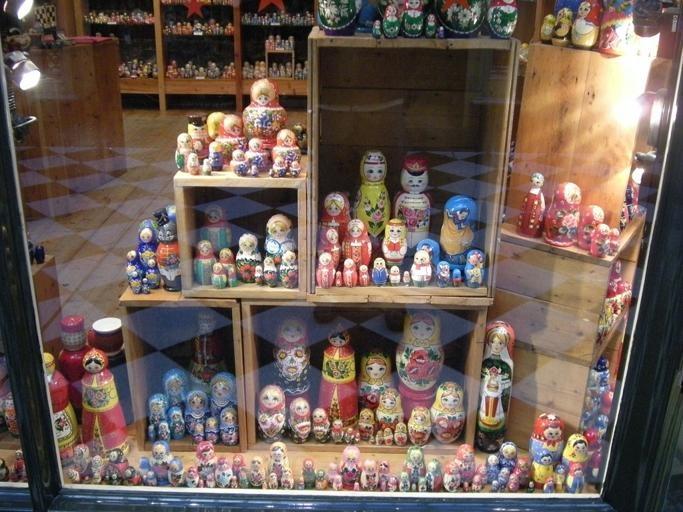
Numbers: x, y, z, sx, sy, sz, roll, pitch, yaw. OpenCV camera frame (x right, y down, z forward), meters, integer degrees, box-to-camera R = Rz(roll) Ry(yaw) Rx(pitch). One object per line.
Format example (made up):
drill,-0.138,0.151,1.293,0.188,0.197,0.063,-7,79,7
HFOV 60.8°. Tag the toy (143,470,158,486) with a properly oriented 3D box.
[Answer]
toy,-0.660,0.774,2.013,0.039,0.026,0.054,5,40,-45

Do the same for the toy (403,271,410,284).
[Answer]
toy,0.256,0.089,2.292,0.032,0.042,0.042,-5,16,-13

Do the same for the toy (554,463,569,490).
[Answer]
toy,0.791,0.802,2.088,0.038,0.132,0.041,-8,14,-35

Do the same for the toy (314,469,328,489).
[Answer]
toy,-0.080,0.834,2.173,0.045,0.064,0.049,2,-22,-5

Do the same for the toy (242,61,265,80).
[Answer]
toy,-0.319,-0.671,2.092,0.056,0.053,0.019,-10,25,-33

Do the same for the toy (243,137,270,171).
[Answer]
toy,-0.325,-0.399,2.240,0.082,0.126,0.089,-1,32,2

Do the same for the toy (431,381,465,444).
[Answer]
toy,0.458,0.660,2.488,0.152,0.274,0.156,8,17,20

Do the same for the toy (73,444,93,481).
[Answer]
toy,-0.889,0.709,1.987,0.070,0.107,0.100,-3,-3,-1

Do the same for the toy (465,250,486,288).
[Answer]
toy,0.520,0.045,2.270,0.087,0.150,0.091,-9,25,-16

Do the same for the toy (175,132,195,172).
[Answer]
toy,-0.589,-0.394,2.203,0.076,0.141,0.083,17,27,30

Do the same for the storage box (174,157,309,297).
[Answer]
storage box,-0.389,-0.166,2.387,0.628,0.673,0.468,-1,29,-2

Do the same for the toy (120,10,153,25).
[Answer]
toy,-0.673,-0.796,1.946,0.058,0.062,0.015,1,-13,-3

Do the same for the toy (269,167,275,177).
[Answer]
toy,-0.255,-0.311,2.156,0.028,0.043,0.030,-3,18,-9

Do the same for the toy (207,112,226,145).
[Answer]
toy,-0.484,-0.480,2.227,0.069,0.121,0.083,14,19,27

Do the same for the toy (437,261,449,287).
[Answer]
toy,0.401,0.072,2.279,0.064,0.090,0.048,-14,20,-40

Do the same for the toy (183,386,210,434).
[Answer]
toy,-0.616,0.670,2.478,0.116,0.216,0.097,-3,13,-23

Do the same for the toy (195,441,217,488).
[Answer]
toy,-0.507,0.783,2.190,0.081,0.167,0.080,-8,14,-43

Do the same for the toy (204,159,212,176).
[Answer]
toy,-0.504,-0.331,2.178,0.033,0.055,0.034,-2,15,-2

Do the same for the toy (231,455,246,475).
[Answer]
toy,-0.377,0.784,2.177,0.053,0.070,0.041,2,-15,-8

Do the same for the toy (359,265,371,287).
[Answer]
toy,0.089,0.083,2.274,0.042,0.083,0.018,-2,1,3

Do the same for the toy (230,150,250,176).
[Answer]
toy,-0.383,-0.345,2.179,0.081,0.126,0.084,-5,8,-34

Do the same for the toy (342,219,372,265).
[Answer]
toy,0.068,-0.049,2.337,0.110,0.186,0.098,-2,12,10

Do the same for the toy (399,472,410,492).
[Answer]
toy,0.224,0.809,2.062,0.046,0.044,0.078,1,24,5

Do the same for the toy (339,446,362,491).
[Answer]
toy,0.039,0.805,2.222,0.085,0.162,0.087,8,14,24

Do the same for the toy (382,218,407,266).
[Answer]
toy,0.219,-0.068,2.347,0.104,0.206,0.111,2,27,5

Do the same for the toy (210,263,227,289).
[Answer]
toy,-0.482,0.077,2.286,0.070,0.119,0.066,2,23,6

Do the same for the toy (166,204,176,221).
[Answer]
toy,-0.657,-0.165,2.258,0.043,0.068,0.022,8,18,32

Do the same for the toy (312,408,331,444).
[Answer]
toy,-0.083,0.718,2.461,0.081,0.145,0.070,-1,12,14

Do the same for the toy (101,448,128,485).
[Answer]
toy,-0.783,0.741,2.039,0.088,0.135,0.070,0,0,11

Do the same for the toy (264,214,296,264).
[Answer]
toy,-0.247,-0.059,2.316,0.125,0.186,0.098,-4,-6,-3

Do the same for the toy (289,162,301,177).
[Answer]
toy,-0.165,-0.324,2.168,0.036,0.055,0.056,12,20,40

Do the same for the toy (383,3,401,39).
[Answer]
toy,0.174,-0.809,2.004,0.062,0.115,0.032,-1,15,2

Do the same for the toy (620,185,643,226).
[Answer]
toy,0.993,-0.176,1.991,0.055,0.178,0.064,12,13,34

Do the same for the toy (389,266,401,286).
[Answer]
toy,0.214,0.077,2.296,0.048,0.070,0.069,0,15,5

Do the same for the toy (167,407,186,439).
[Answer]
toy,-0.696,0.704,2.459,0.071,0.143,0.075,-1,18,0

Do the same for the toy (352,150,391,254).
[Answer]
toy,0.118,-0.234,2.393,0.137,0.425,0.145,-12,35,-19

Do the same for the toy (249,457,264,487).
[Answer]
toy,-0.309,0.797,2.120,0.068,0.125,0.074,4,-30,-8

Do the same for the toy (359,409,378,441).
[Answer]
toy,0.111,0.721,2.478,0.077,0.138,0.082,-5,9,-41

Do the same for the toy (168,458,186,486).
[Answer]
toy,-0.590,0.780,2.085,0.054,0.095,0.055,15,-40,-35

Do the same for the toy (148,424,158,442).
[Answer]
toy,-0.779,0.739,2.402,0.036,0.064,0.062,1,21,-8

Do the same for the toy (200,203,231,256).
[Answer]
toy,-0.504,-0.084,2.357,0.115,0.200,0.109,-3,-10,-13

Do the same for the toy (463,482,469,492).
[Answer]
toy,0.467,0.874,2.183,0.014,0.026,0.025,0,-3,11

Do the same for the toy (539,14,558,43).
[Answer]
toy,0.802,-0.889,2.260,0.053,0.101,0.045,12,0,-4

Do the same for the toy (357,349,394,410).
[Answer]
toy,0.150,0.548,2.535,0.156,0.279,0.152,-1,14,-13

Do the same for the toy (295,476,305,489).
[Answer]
toy,-0.150,0.829,2.105,0.027,0.025,0.061,18,-17,3

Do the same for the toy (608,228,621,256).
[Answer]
toy,1.051,-0.048,2.247,0.048,0.103,0.037,3,0,-5

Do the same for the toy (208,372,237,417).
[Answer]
toy,-0.503,0.603,2.465,0.115,0.208,0.107,2,7,-8

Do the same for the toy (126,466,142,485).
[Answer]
toy,-0.708,0.752,1.976,0.037,0.061,0.042,-6,45,-18
